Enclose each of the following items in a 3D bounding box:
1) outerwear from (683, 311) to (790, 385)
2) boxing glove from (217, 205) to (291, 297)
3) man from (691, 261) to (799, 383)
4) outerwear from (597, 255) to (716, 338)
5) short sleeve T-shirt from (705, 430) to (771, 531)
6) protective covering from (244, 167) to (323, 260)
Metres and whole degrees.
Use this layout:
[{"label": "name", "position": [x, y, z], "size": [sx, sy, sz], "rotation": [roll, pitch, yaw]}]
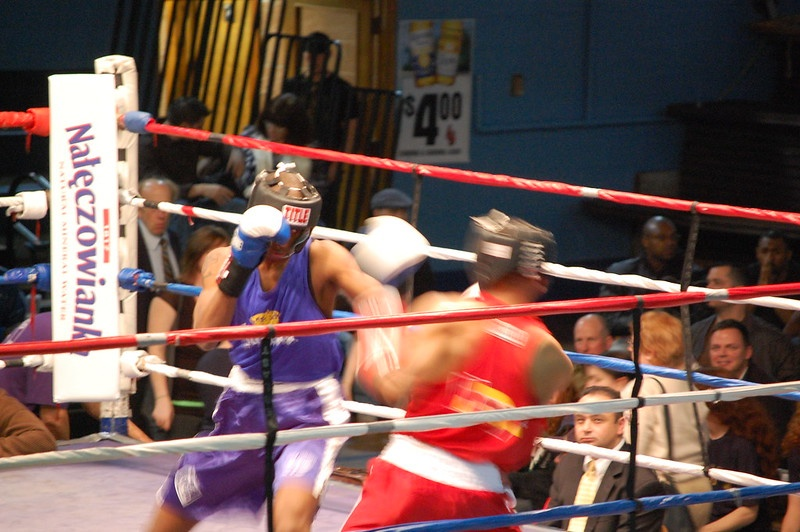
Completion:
[{"label": "outerwear", "position": [1.861, 0.466, 5.243], "size": [0.702, 0.374, 0.193], "rotation": [1, -6, 9]}, {"label": "boxing glove", "position": [-0.554, -0.052, 3.561], "size": [0.265, 0.359, 0.146], "rotation": [5, 5, 1]}, {"label": "man", "position": [1.912, 0.342, 5.258], "size": [0.283, 0.486, 0.708], "rotation": [10, -22, -27]}, {"label": "outerwear", "position": [1.659, 0.212, 6.348], "size": [0.830, 0.547, 0.210], "rotation": [-9, -12, -3]}, {"label": "short sleeve T-shirt", "position": [1.641, 1.059, 4.689], "size": [0.299, 0.461, 0.320], "rotation": [2, 6, -31]}, {"label": "protective covering", "position": [-0.367, -0.229, 3.755], "size": [0.339, 0.305, 0.360], "rotation": [13, 25, -18]}]
